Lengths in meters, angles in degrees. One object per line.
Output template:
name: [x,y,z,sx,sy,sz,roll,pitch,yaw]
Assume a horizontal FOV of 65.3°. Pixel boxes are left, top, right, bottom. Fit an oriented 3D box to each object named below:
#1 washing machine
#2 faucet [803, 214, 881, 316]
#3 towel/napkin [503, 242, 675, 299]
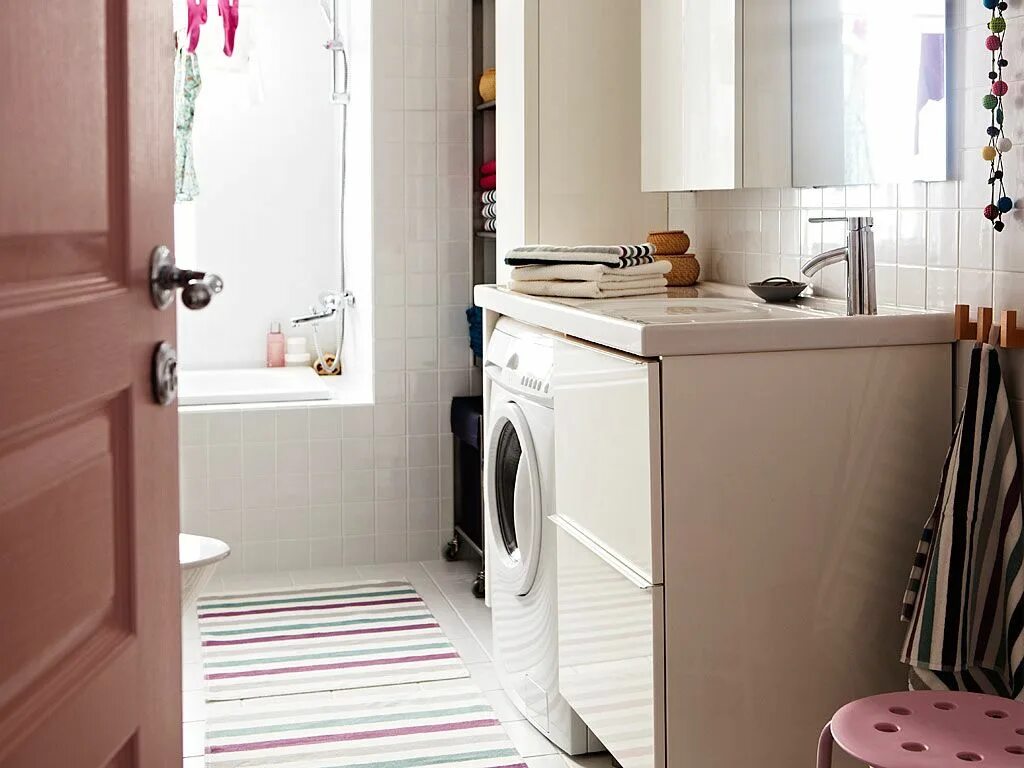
washing machine: [0.034,0.468,2.528,0.429,1.163,0.559,-3,7,-11]
faucet: [0.795,-0.287,1.917,0.160,0.283,0.149,9,14,36]
towel/napkin: [0.232,-0.362,2.511,0.335,0.158,0.453,-6,11,-33]
